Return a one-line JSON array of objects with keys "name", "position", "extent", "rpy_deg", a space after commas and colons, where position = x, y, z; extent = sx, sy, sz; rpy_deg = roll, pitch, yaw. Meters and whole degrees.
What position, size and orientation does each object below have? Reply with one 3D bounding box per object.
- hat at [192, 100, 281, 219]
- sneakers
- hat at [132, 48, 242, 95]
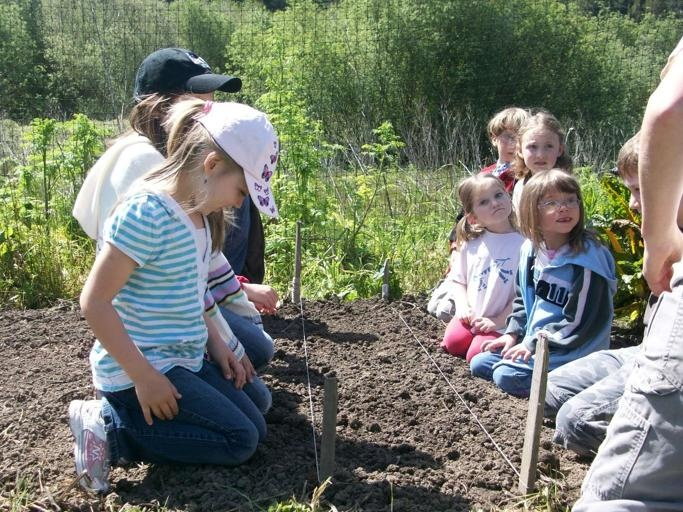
[{"name": "hat", "position": [-0.615, -0.584, 4.784], "extent": [0.461, 0.719, 0.329], "rpy_deg": [-6, 12, -9]}, {"name": "sneakers", "position": [-1.512, 1.138, 4.773], "extent": [0.224, 0.644, 0.192], "rpy_deg": [-6, -7, 8]}, {"name": "hat", "position": [-1.056, -1.220, 5.328], "extent": [0.517, 0.331, 0.384], "rpy_deg": [-17, 1, 17]}]
